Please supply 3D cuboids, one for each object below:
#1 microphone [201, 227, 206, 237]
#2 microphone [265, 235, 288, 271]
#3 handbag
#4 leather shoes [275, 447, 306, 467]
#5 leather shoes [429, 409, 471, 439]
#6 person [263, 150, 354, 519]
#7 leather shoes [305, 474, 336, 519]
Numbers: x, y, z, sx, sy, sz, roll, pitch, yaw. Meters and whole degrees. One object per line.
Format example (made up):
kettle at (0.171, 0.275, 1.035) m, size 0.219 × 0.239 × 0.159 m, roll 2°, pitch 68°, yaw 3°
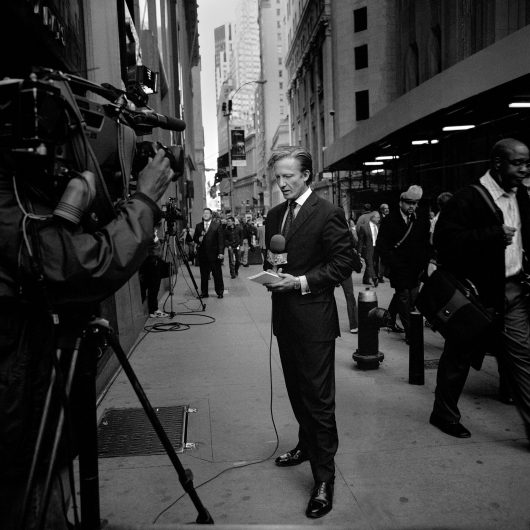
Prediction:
microphone at (-1.444, -0.743, 14.202) m, size 0.040 × 0.145 × 0.139 m, roll 12°, pitch 33°, yaw -6°
microphone at (0.072, -0.041, 3.707) m, size 0.115 × 0.299 × 0.083 m, roll 6°, pitch 7°, yaw 21°
handbag at (1.411, 0.340, 4.526) m, size 0.466 × 0.225 × 0.653 m, roll -32°, pitch 20°, yaw -4°
leather shoes at (0.178, 1.316, 4.137) m, size 0.229 × 0.113 × 0.090 m, roll 0°, pitch -2°, yaw -30°
leather shoes at (1.396, 1.207, 4.627) m, size 0.101 × 0.144 × 0.310 m, roll -11°, pitch 7°, yaw -22°
person at (0.262, 0.331, 3.721) m, size 0.552 × 2.111 × 0.799 m, roll -2°, pitch 3°, yaw -16°
leather shoes at (0.299, 1.323, 3.379) m, size 0.079 × 0.134 × 0.271 m, roll -3°, pitch -6°, yaw 15°
